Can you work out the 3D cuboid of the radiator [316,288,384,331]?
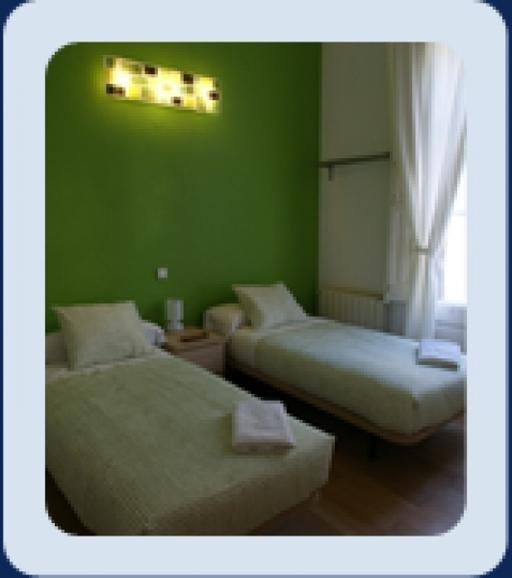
[{"bbox_3d":[0.468,0.102,2.575,0.095,0.157,0.370,-2,4,-24],"label":"radiator"}]

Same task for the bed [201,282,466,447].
[{"bbox_3d":[0.306,0.131,1.864,0.351,0.322,0.774,-5,9,-27],"label":"bed"}]

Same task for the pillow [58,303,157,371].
[{"bbox_3d":[-0.532,0.167,1.878,0.212,0.185,0.196,-20,-8,-2],"label":"pillow"}]

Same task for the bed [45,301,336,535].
[{"bbox_3d":[-0.274,0.134,1.339,0.398,0.339,0.736,-3,8,-31],"label":"bed"}]
